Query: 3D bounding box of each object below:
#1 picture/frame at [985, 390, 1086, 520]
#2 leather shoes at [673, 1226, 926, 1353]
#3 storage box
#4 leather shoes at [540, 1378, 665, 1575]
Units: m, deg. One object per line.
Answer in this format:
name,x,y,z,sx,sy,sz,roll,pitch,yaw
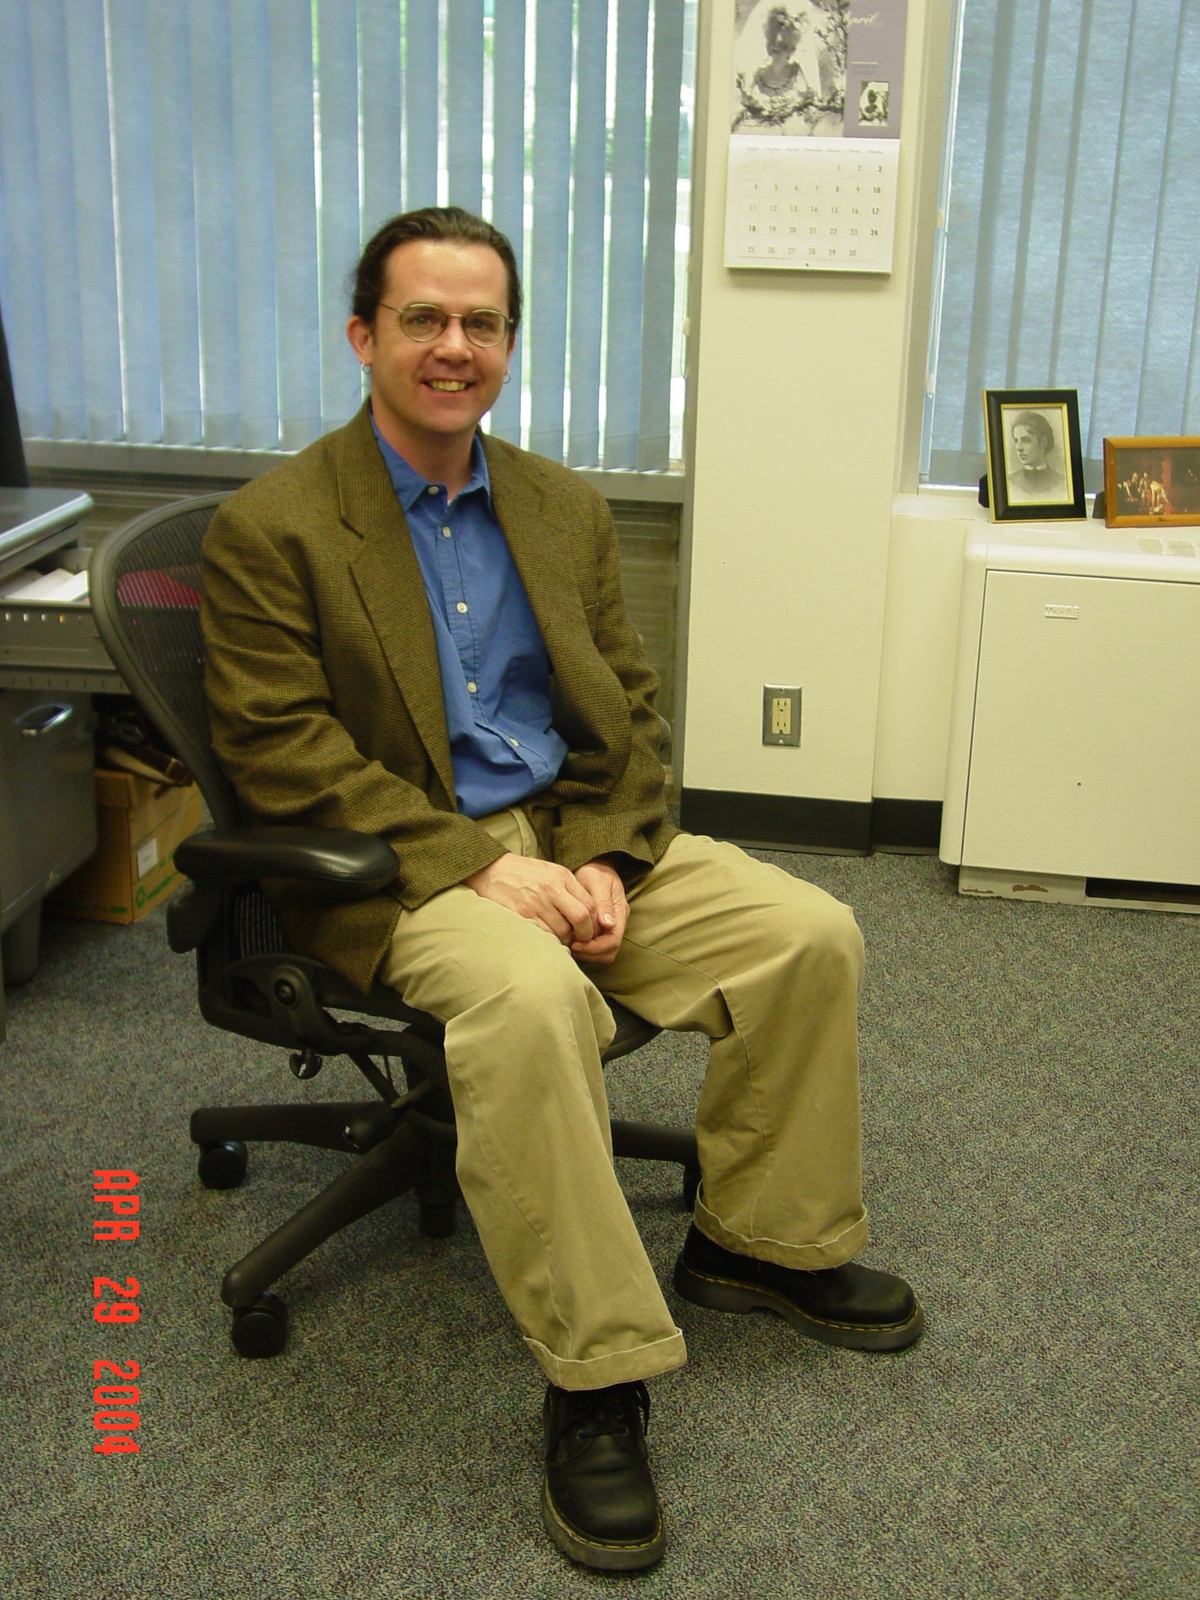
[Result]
picture/frame,0.948,-0.759,2.846,0.286,0.343,0.027,-4,3,-21
leather shoes,0.219,0.550,1.512,0.292,0.130,0.102,3,16,23
storage box,-0.823,0.084,2.277,0.094,0.166,0.277,2,13,10
leather shoes,0.002,0.580,1.122,0.101,0.111,0.141,1,11,-4
